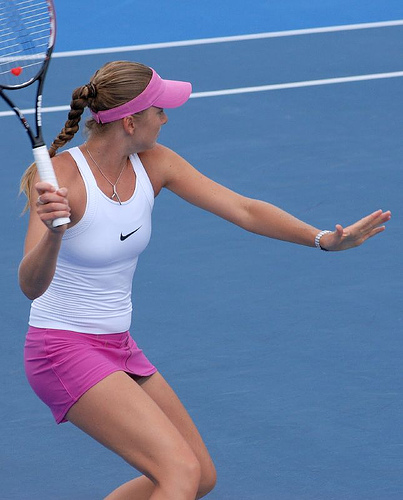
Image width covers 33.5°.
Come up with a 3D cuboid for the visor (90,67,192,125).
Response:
[{"bbox_3d":[-0.194,-0.568,2.514,0.399,0.106,0.198,-15,34,0],"label":"visor"}]
